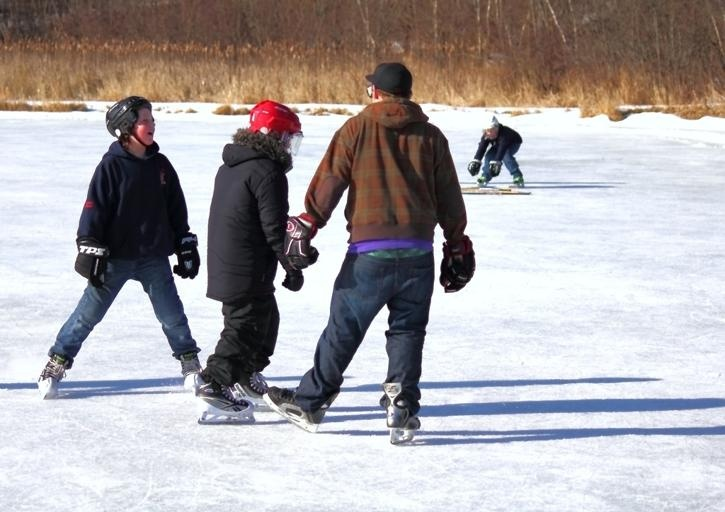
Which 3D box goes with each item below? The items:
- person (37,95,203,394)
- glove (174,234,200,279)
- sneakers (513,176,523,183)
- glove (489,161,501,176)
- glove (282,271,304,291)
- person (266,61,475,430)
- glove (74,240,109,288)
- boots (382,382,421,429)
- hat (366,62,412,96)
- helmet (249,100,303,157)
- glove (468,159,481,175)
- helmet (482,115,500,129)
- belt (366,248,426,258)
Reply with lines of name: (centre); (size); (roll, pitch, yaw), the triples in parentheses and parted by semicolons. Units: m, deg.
person: (-2.007, -0.077, 9.820); (1.226, 2.471, 0.502); (-1, 13, -9)
glove: (-1.491, 0.011, 9.956); (0.260, 0.353, 0.139); (1, -11, -5)
sneakers: (2.390, -1.173, 18.001); (0.121, 0.113, 0.101); (-1, 5, 14)
glove: (2.015, -1.339, 17.972); (0.198, 0.206, 0.204); (3, -16, -6)
glove: (-0.554, 0.198, 9.424); (0.194, 0.186, 0.136); (1, 10, 0)
person: (0.101, 0.091, 9.265); (1.476, 2.614, 0.629); (2, 13, 4)
glove: (-2.226, 0.047, 9.590); (0.289, 0.361, 0.147); (7, 21, 0)
boots: (0.274, 1.175, 9.460); (0.260, 0.364, 0.542); (1, 5, 9)
hat: (0.188, -1.451, 9.288); (0.379, 0.196, 0.275); (3, 30, 6)
helmet: (-0.697, -1.053, 9.601); (0.428, 0.394, 0.350); (10, -4, -12)
glove: (1.700, -1.343, 17.917); (0.178, 0.098, 0.230); (14, -33, -2)
helmet: (1.972, -2.027, 17.825); (0.193, 0.240, 0.181); (4, 1, -21)
belt: (0.270, -0.018, 9.174); (0.486, 0.074, 0.063); (-2, 14, -12)
